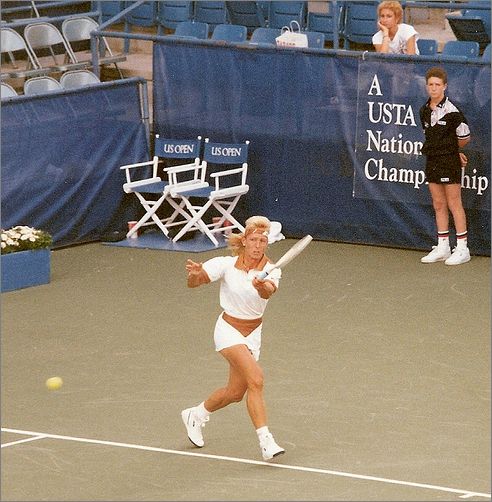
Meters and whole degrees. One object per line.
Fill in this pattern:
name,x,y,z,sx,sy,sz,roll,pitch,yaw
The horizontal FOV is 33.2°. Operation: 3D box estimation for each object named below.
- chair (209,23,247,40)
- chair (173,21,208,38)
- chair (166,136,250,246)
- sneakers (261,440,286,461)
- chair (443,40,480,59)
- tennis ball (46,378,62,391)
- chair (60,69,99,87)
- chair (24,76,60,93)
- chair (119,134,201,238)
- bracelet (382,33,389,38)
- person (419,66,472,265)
chair,-0.258,-3.441,12.977,0.350,0.253,0.763,-16,21,-35
chair,-0.876,-3.530,13.158,0.561,0.256,0.555,0,17,8
chair,-0.500,-0.836,11.144,0.919,1.278,0.959,15,23,43
sneakers,0.165,1.244,5.176,0.136,0.178,0.094,-5,19,-6
chair,2.969,-2.769,11.285,0.414,0.204,0.510,-8,17,-16
tennis ball,-1.560,1.056,6.679,0.123,0.114,0.058,10,58,-25
chair,-2.466,-2.517,12.021,0.634,0.212,0.355,-11,19,-27
chair,-2.904,-2.351,11.622,0.636,0.204,0.227,-16,22,-38
chair,-1.169,-0.873,11.327,1.044,1.268,1.009,4,19,10
bracelet,1.761,-2.713,10.395,0.062,0.080,0.060,0,19,11
person,2.355,-0.972,9.687,0.604,2.363,0.324,0,20,10
